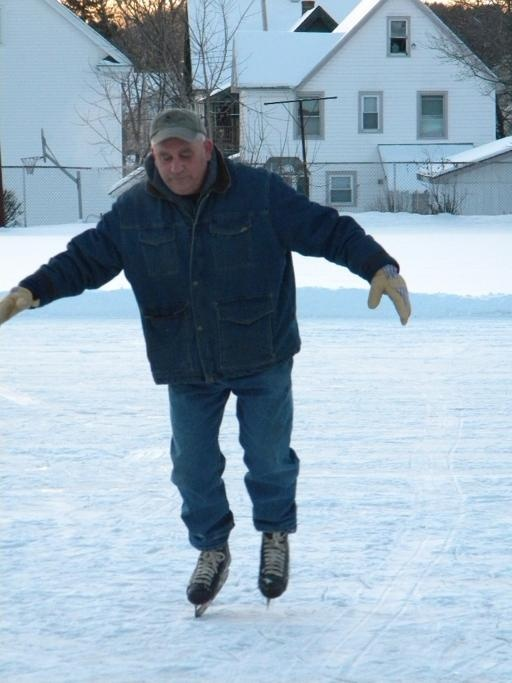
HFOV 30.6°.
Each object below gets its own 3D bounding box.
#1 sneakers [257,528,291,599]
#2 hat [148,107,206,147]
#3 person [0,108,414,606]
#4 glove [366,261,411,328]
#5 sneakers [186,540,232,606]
[{"bbox_3d":[0.060,0.784,3.312,0.093,0.089,0.250,0,37,3],"label":"sneakers"},{"bbox_3d":[-0.249,-0.702,3.045,0.201,0.118,0.191,-4,10,-16],"label":"hat"},{"bbox_3d":[-0.130,0.063,3.249,1.299,1.696,0.489,0,11,7],"label":"person"},{"bbox_3d":[0.439,-0.152,3.109,0.131,0.211,0.262,0,10,7],"label":"glove"},{"bbox_3d":[-0.165,0.815,3.259,0.085,0.093,0.252,9,18,7],"label":"sneakers"}]
